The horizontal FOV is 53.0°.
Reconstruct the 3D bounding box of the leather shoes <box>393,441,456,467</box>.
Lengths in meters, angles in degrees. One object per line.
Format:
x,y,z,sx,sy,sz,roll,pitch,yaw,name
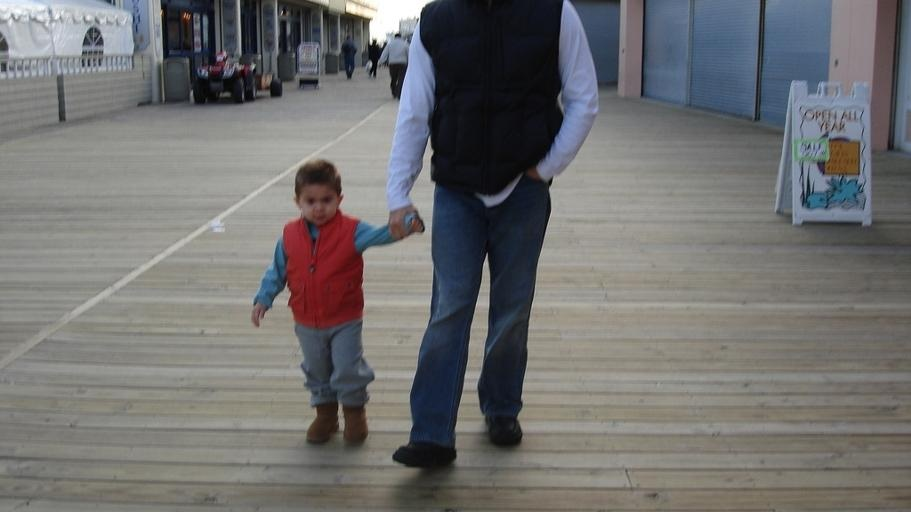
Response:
-0.182,1.184,5.445,0.313,0.124,0.159,5,3,-17,leather shoes

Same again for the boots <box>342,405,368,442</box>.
-0.617,1.042,5.598,0.099,0.275,0.197,0,-26,0,boots
